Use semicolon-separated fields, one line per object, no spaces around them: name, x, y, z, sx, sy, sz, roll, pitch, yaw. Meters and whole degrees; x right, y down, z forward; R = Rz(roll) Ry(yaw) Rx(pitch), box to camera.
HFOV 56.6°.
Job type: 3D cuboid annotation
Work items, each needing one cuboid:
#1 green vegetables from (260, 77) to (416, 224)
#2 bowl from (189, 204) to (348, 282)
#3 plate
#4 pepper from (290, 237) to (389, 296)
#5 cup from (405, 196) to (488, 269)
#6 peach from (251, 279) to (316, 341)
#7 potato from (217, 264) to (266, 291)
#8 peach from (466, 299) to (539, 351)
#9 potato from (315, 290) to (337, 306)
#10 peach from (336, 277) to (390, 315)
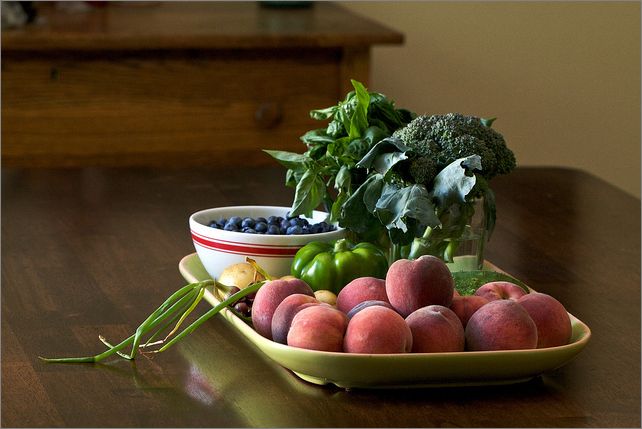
green vegetables;0.030;-0.139;0.923;0.136;0.248;0.185;-16;23;-37
bowl;-0.101;0.008;0.962;0.243;0.119;0.167;-11;14;-39
plate;0.097;0.152;0.693;0.449;0.071;0.137;3;24;-1
pepper;0.028;0.074;0.910;0.100;0.073;0.094;1;6;0
cup;0.205;0.023;0.972;0.110;0.125;0.117;0;5;0
peach;-0.036;0.101;0.714;0.057;0.068;0.075;-9;15;-36
potato;-0.115;0.090;0.838;0.047;0.027;0.037;-3;-12;12
peach;0.207;0.138;0.683;0.075;0.081;0.080;5;-12;22
potato;0.007;0.112;0.803;0.021;0.021;0.025;-2;41;-26
peach;0.051;0.095;0.727;0.052;0.041;0.065;-8;14;-23
